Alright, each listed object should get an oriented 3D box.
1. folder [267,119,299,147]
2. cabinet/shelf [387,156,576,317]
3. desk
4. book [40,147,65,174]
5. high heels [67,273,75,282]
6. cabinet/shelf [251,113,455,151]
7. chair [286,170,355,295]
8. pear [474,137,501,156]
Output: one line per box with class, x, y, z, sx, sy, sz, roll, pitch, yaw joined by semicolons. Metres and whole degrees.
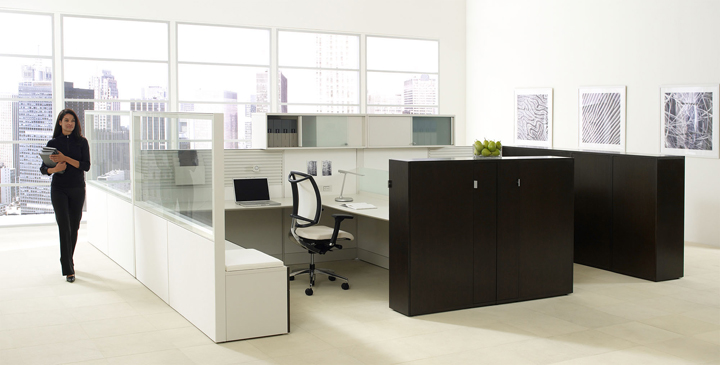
folder;-1.575;-0.980;9.587;0.695;0.545;0.295;-1;1;-30
cabinet/shelf;2.051;0.850;8.650;3.858;2.465;1.150;-1;1;-28
desk;-1.256;1.025;9.520;2.745;0.944;1.776;0;0;-28
book;-5.625;-0.408;8.760;0.541;0.448;0.139;-1;44;-3
high heels;-5.277;1.736;8.747;0.093;0.086;0.238;-1;-2;-32
cabinet/shelf;-0.065;-1.072;10.080;4.207;0.784;0.436;-3;9;-15
chair;-0.790;0.843;8.760;1.007;2.106;1.516;-5;10;-23
pear;2.208;-0.602;8.404;0.439;0.296;0.328;2;9;22
